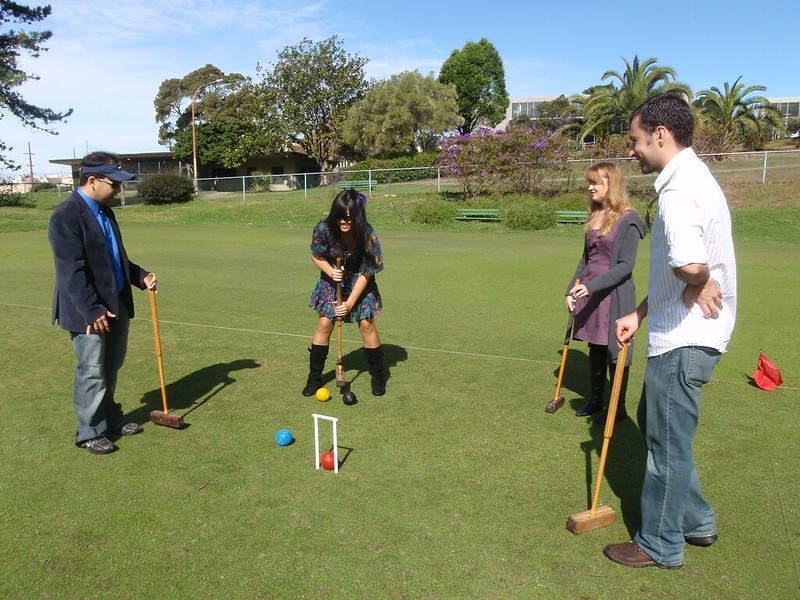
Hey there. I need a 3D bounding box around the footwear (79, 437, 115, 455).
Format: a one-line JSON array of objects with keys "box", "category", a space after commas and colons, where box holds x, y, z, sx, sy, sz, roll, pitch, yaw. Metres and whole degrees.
[{"box": [-2.459, 1.158, 5.143, 0.283, 0.123, 0.122, 1, 10, 12], "category": "footwear"}]

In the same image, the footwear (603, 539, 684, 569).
[{"box": [1.546, 1.593, 4.024, 0.407, 0.186, 0.168, 10, -13, 14], "category": "footwear"}]

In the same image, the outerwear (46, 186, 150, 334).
[{"box": [-2.470, -0.320, 5.177, 0.459, 1.111, 0.650, 7, 14, 40], "category": "outerwear"}]

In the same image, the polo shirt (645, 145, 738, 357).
[{"box": [1.756, -0.264, 3.829, 0.502, 1.275, 0.468, 4, 12, 27], "category": "polo shirt"}]

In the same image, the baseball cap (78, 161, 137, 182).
[{"box": [-2.338, -1.017, 5.090, 0.450, 0.144, 0.285, 6, 13, -17], "category": "baseball cap"}]

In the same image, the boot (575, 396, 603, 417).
[{"box": [1.730, 0.978, 5.845, 0.318, 0.217, 0.113, -4, -4, -3], "category": "boot"}]
